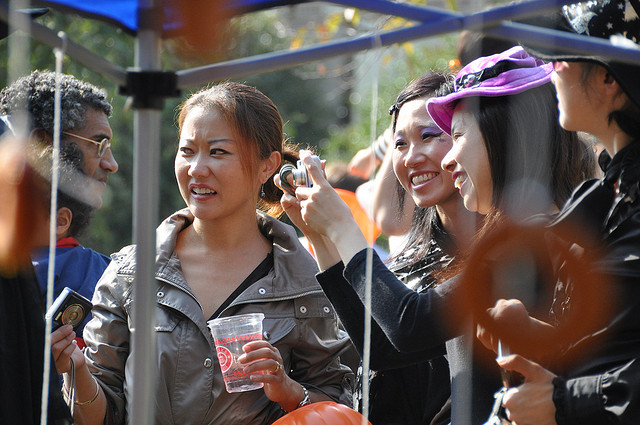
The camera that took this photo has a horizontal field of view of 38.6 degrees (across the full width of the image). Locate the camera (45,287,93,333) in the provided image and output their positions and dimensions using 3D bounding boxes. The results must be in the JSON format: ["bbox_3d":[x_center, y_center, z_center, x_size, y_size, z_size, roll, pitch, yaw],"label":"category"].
[{"bbox_3d":[-1.245,0.467,4.497,0.069,0.193,0.199,31,-6,46],"label":"camera"}]

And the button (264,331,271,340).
[{"bbox_3d":[-0.274,0.638,4.764,0.034,0.044,0.015,-6,-14,-4],"label":"button"}]

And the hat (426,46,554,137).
[{"bbox_3d":[0.869,-0.665,4.600,0.566,0.187,0.413,-26,-10,-17],"label":"hat"}]

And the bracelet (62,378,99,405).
[{"bbox_3d":[-1.206,0.897,4.580,0.171,0.159,0.041,2,2,2],"label":"bracelet"}]

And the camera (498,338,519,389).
[{"bbox_3d":[0.860,0.685,4.176,0.074,0.218,0.203,-9,-14,11],"label":"camera"}]

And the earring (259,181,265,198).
[{"bbox_3d":[-0.337,-0.118,5.291,0.026,0.062,0.090,-5,-14,-5],"label":"earring"}]

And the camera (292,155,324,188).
[{"bbox_3d":[-0.056,-0.223,4.729,0.149,0.187,0.194,-1,7,5],"label":"camera"}]

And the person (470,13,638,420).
[{"bbox_3d":[1.081,0.076,4.032,0.382,1.616,0.844,4,-17,-38],"label":"person"}]

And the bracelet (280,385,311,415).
[{"bbox_3d":[-0.107,0.964,4.737,0.116,0.141,0.047,-11,28,-35],"label":"bracelet"}]

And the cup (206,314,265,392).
[{"bbox_3d":[-0.393,0.719,4.612,0.334,0.353,0.325,-5,-16,-1],"label":"cup"}]

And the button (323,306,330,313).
[{"bbox_3d":[0.037,0.521,4.923,0.034,0.035,0.006,6,-19,-43],"label":"button"}]
